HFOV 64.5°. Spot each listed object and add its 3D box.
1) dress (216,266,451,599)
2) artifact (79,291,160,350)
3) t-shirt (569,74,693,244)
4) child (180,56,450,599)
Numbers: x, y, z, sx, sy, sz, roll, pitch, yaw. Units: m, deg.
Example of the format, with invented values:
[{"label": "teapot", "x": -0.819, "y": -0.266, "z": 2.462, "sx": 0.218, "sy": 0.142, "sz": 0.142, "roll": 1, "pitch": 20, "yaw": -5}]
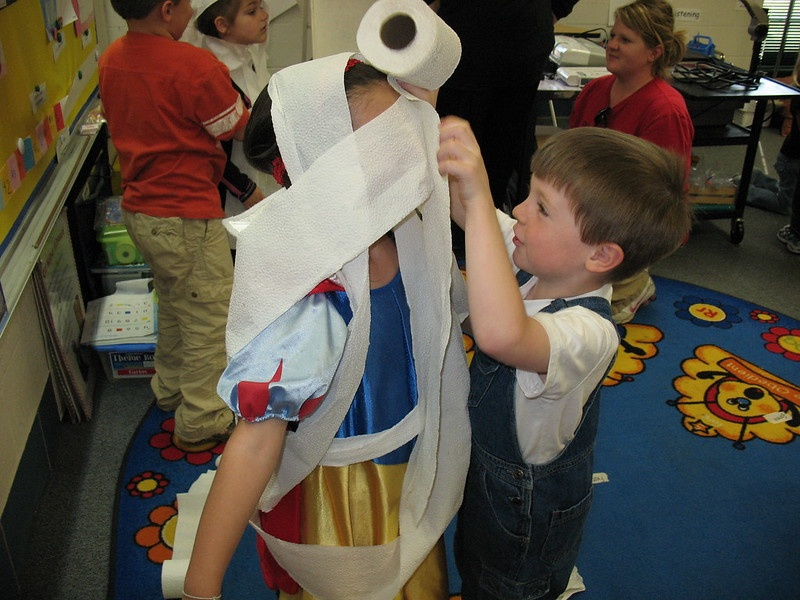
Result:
[{"label": "dress", "x": -0.100, "y": 0.217, "z": 1.080, "sx": 0.499, "sy": 0.603, "sz": 0.219, "roll": -8, "pitch": 31, "yaw": -18}, {"label": "artifact", "x": -1.187, "y": 0.090, "z": 2.700, "sx": 0.265, "sy": 0.093, "sz": 0.237, "roll": 2, "pitch": 58, "yaw": -12}, {"label": "t-shirt", "x": 1.115, "y": -0.850, "z": 3.155, "sx": 0.392, "sy": 0.558, "sz": 0.758, "roll": -12, "pitch": 30, "yaw": -22}, {"label": "child", "x": -0.150, "y": 0.142, "z": 1.114, "sx": 0.499, "sy": 1.053, "sz": 0.368, "roll": -7, "pitch": 21, "yaw": -18}]
